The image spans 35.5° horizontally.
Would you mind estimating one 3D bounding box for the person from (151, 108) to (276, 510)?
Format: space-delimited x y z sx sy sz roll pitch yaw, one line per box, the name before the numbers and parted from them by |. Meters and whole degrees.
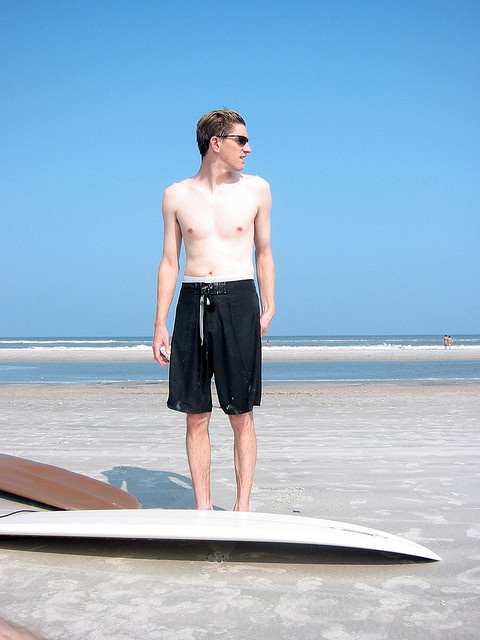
person | -0.123 -0.033 3.246 0.532 1.765 0.549 1 1 1
